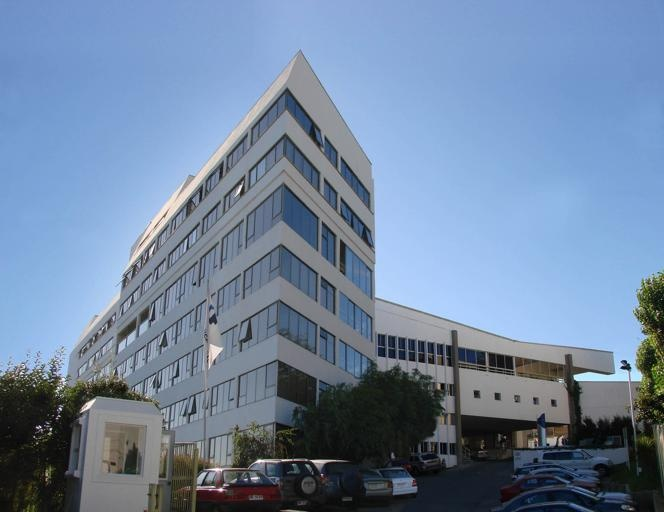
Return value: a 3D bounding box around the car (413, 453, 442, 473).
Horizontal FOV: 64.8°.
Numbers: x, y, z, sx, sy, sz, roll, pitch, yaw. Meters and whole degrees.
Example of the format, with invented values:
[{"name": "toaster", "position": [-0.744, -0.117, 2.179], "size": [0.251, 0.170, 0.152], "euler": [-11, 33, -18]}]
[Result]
[{"name": "car", "position": [7.867, 17.241, 43.150], "size": [1.316, 1.189, 2.382], "euler": [4, -11, -24]}]
